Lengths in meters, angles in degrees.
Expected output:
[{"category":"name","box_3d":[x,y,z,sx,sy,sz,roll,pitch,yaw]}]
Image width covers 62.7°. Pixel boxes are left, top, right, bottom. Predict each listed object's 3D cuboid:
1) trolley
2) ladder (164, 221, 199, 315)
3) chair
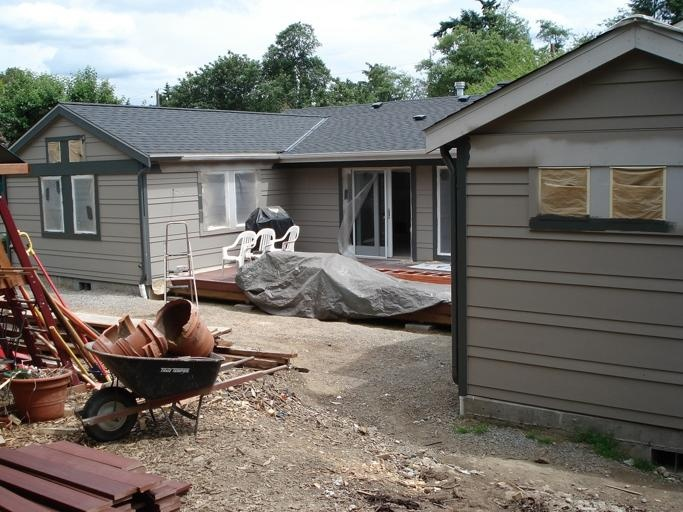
[{"category":"trolley","box_3d":[-1.561,1.267,5.561,1.974,0.694,0.821,1,4,-43]},{"category":"ladder","box_3d":[-3.736,0.130,13.122,0.946,1.887,1.522,9,5,-17]},{"category":"chair","box_3d":[-1.996,-0.165,13.824,1.684,1.294,2.803,8,4,-7]}]
